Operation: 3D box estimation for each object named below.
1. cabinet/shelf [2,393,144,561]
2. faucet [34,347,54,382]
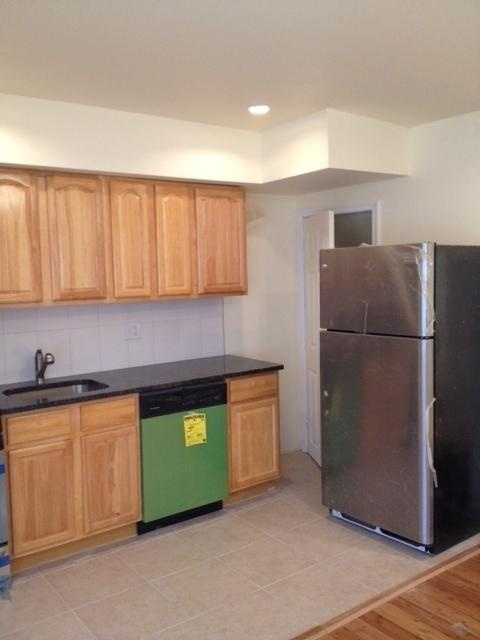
[{"bbox_3d":[-0.859,0.786,2.738,0.751,0.905,0.441,-5,6,-40],"label":"cabinet/shelf"},{"bbox_3d":[-1.122,0.260,3.136,0.112,0.185,0.201,-2,3,-19],"label":"faucet"}]
